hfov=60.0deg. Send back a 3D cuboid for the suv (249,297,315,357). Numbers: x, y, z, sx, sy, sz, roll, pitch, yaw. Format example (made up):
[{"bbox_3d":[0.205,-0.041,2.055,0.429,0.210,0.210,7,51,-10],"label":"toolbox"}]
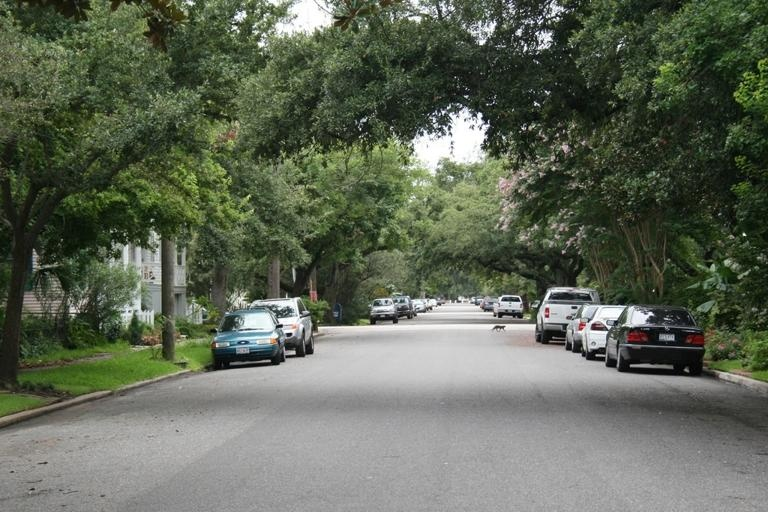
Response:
[{"bbox_3d":[-3.999,2.959,28.115,1.713,1.535,2.935,-2,-12,5],"label":"suv"}]

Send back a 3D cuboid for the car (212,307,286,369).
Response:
[{"bbox_3d":[-4.887,2.933,24.123,1.551,1.311,2.783,-2,-10,-1],"label":"car"}]

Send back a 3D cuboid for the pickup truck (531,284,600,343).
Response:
[{"bbox_3d":[8.748,2.849,33.388,1.852,1.738,3.928,-1,1,2],"label":"pickup truck"}]
